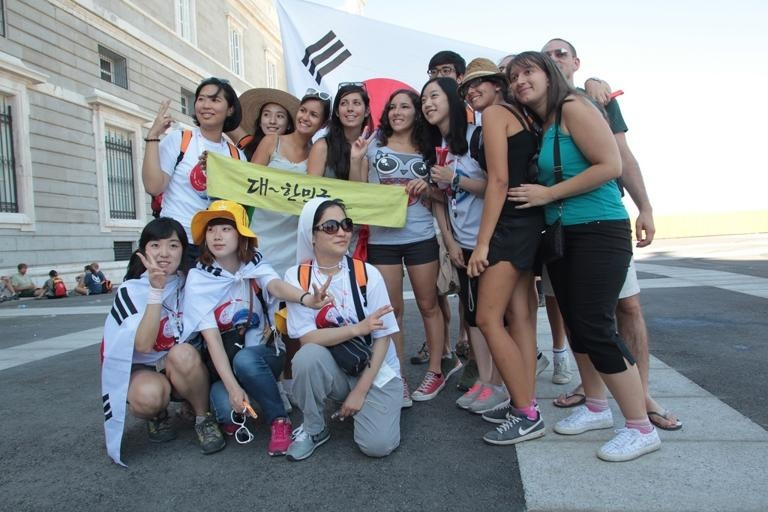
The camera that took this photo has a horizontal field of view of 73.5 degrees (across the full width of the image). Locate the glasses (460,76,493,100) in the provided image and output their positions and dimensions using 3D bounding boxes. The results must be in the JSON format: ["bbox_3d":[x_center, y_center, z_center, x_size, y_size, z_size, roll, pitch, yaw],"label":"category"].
[{"bbox_3d":[0.833,-1.515,4.626,0.303,0.161,0.107,-2,7,9],"label":"glasses"}]

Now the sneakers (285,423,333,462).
[{"bbox_3d":[-0.636,1.494,4.203,0.171,0.208,0.393,1,8,33],"label":"sneakers"}]

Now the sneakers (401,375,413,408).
[{"bbox_3d":[0.208,1.319,4.872,0.118,0.147,0.347,-2,-4,0],"label":"sneakers"}]

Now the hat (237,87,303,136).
[{"bbox_3d":[-1.319,-1.793,5.895,0.538,0.149,0.526,18,-45,-22],"label":"hat"}]

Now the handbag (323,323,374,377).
[{"bbox_3d":[-0.280,0.808,4.257,0.369,0.272,0.130,20,27,24],"label":"handbag"}]

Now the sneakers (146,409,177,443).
[{"bbox_3d":[-1.925,1.443,4.425,0.212,0.257,0.184,-7,7,-27],"label":"sneakers"}]

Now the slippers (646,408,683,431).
[{"bbox_3d":[2.312,1.347,4.238,0.135,0.071,0.264,-8,7,-27],"label":"slippers"}]

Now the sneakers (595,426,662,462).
[{"bbox_3d":[1.856,1.405,3.984,0.568,0.203,0.199,-11,5,-17],"label":"sneakers"}]

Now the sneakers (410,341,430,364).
[{"bbox_3d":[0.406,1.168,6.145,0.373,0.223,0.128,0,-4,-19],"label":"sneakers"}]

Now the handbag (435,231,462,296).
[{"bbox_3d":[0.657,0.073,5.209,0.232,0.641,0.646,-8,-2,-5],"label":"handbag"}]

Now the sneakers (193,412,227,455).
[{"bbox_3d":[-1.457,1.464,4.301,0.220,0.260,0.287,-6,7,-21],"label":"sneakers"}]

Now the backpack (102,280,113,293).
[{"bbox_3d":[-7.983,0.867,14.745,0.193,0.350,0.368,-1,-4,16],"label":"backpack"}]

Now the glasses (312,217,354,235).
[{"bbox_3d":[-0.438,-0.250,4.331,0.321,0.130,0.090,-4,7,-8],"label":"glasses"}]

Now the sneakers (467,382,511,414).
[{"bbox_3d":[0.957,1.294,4.663,0.481,0.204,0.167,-17,4,-28],"label":"sneakers"}]

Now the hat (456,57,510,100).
[{"bbox_3d":[0.852,-1.636,4.587,0.352,0.194,0.362,-1,-18,4],"label":"hat"}]

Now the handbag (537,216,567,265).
[{"bbox_3d":[1.368,-0.134,4.166,0.130,0.349,0.338,4,-15,-12],"label":"handbag"}]

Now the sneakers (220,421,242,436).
[{"bbox_3d":[-1.329,1.476,4.429,0.191,0.079,0.069,18,1,-11],"label":"sneakers"}]

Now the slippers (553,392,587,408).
[{"bbox_3d":[1.698,1.295,4.697,0.270,0.062,0.121,-3,11,-15],"label":"slippers"}]

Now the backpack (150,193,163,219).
[{"bbox_3d":[-2.199,-0.490,4.980,0.112,0.219,0.504,-7,7,-23],"label":"backpack"}]

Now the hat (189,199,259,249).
[{"bbox_3d":[-1.412,-0.315,4.558,0.395,0.253,0.490,-4,-33,12],"label":"hat"}]

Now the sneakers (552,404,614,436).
[{"bbox_3d":[1.642,1.348,4.355,0.552,0.210,0.200,-7,3,-6],"label":"sneakers"}]
